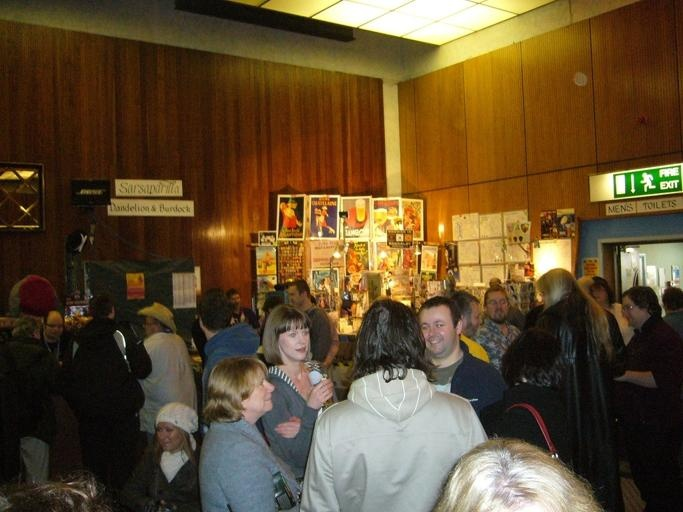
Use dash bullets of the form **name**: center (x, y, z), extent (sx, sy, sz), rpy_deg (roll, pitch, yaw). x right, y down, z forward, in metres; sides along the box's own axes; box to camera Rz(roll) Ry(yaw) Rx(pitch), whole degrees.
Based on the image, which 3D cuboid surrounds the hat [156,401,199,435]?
- **hat**: center (-1.059, 1.059, 3.900), extent (0.181, 0.147, 0.229), rpy_deg (-3, -14, -10)

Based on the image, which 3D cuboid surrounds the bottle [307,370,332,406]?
- **bottle**: center (-0.140, 0.827, 3.749), extent (0.171, 0.214, 0.152), rpy_deg (-12, -1, -22)
